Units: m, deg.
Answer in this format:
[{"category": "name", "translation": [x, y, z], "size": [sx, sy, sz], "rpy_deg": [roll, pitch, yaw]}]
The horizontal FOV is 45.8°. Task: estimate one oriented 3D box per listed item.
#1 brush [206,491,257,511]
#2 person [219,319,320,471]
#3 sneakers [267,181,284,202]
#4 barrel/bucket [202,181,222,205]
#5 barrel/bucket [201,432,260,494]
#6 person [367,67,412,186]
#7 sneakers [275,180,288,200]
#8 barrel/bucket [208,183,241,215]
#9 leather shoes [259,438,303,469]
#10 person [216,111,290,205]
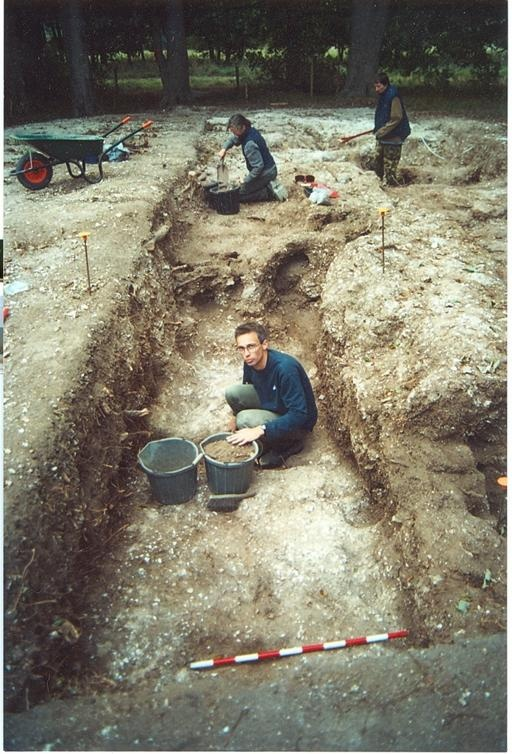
[{"category": "brush", "translation": [-0.173, 0.743, 3.575], "size": [0.178, 0.133, 0.047], "rpy_deg": [2, 49, -13]}, {"category": "person", "translation": [0.069, 0.077, 3.878], "size": [0.549, 0.915, 0.672], "rpy_deg": [-22, 28, -35]}, {"category": "sneakers", "translation": [0.193, -1.795, 5.868], "size": [0.054, 0.209, 0.131], "rpy_deg": [-28, 3, 43]}, {"category": "barrel/bucket", "translation": [-0.410, -1.744, 5.873], "size": [0.215, 0.200, 0.258], "rpy_deg": [-3, 45, 1]}, {"category": "barrel/bucket", "translation": [-0.155, 0.558, 3.587], "size": [0.332, 0.346, 0.369], "rpy_deg": [-2, 25, 2]}, {"category": "person", "translation": [1.319, -2.494, 6.024], "size": [0.323, 0.398, 0.874], "rpy_deg": [-2, -16, 8]}, {"category": "sneakers", "translation": [0.239, -1.786, 5.859], "size": [0.051, 0.195, 0.114], "rpy_deg": [-17, 16, 42]}, {"category": "barrel/bucket", "translation": [-0.298, -1.744, 5.773], "size": [0.254, 0.212, 0.291], "rpy_deg": [-2, 51, 7]}, {"category": "leather shoes", "translation": [0.151, 0.504, 4.093], "size": [0.308, 0.234, 0.126], "rpy_deg": [-11, 30, -27]}, {"category": "person", "translation": [-0.042, -2.056, 5.779], "size": [0.542, 0.832, 0.431], "rpy_deg": [2, 39, 12]}]
